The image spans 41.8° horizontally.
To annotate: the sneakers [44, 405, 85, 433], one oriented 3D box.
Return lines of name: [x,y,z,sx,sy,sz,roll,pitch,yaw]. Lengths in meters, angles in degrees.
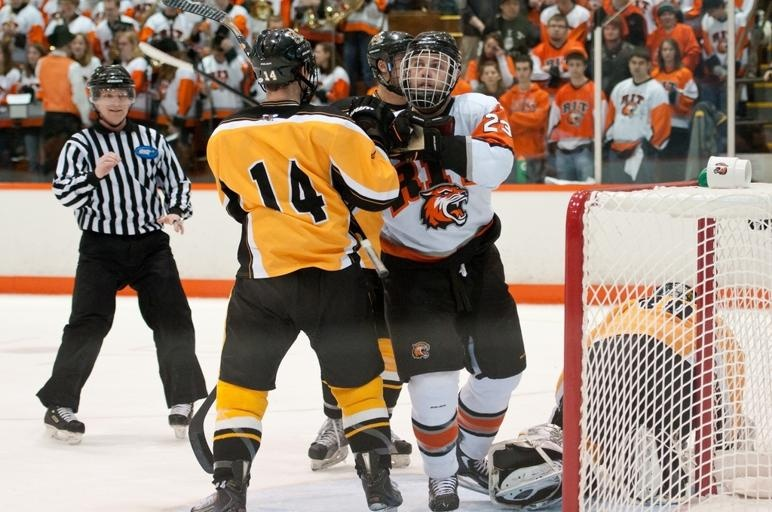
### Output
sneakers: [-1.758,0.877,5.485,0.101,0.129,0.291,-4,4,-43]

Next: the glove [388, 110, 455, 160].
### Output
glove: [0.129,-0.554,4.545,0.236,0.242,0.107,15,-3,-21]

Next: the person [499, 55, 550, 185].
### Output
person: [1.128,-0.991,8.489,0.422,1.290,0.399,-4,29,1]

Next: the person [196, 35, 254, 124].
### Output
person: [-1.540,-1.613,9.405,0.461,1.029,0.279,-3,43,-7]

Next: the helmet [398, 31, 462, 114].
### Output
helmet: [0.236,-0.818,4.612,0.255,0.337,0.346,1,40,11]

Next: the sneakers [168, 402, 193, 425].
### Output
sneakers: [-1.135,0.858,5.562,0.112,0.111,0.122,0,6,-4]

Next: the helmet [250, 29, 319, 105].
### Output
helmet: [-0.481,-0.870,4.627,0.277,0.334,0.336,4,14,1]

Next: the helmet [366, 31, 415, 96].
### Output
helmet: [0.040,-0.924,4.864,0.293,0.313,0.229,4,11,36]

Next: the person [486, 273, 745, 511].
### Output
person: [1.105,0.662,4.652,1.250,1.047,0.826,1,6,4]

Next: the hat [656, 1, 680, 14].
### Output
hat: [2.166,-1.903,7.799,0.089,0.065,0.092,-3,-2,-3]
